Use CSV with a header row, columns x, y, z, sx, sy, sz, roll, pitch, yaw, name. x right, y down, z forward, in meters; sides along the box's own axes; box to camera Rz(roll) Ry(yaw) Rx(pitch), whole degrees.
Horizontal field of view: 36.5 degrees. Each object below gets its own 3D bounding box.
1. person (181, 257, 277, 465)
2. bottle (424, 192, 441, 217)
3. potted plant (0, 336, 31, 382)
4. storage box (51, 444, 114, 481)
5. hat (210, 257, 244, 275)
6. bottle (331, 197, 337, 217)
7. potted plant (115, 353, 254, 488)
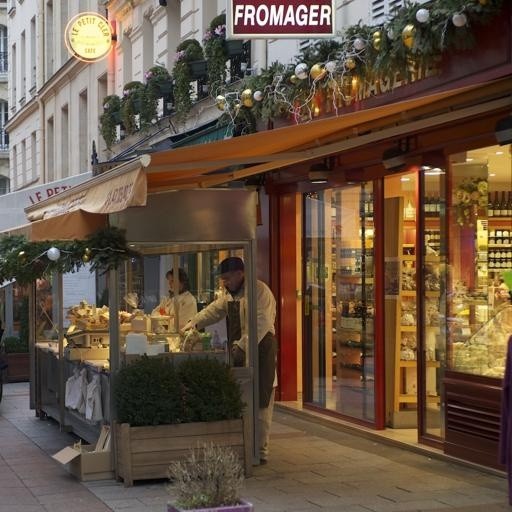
x,y,z,sx,sy,sz,roll,pitch,yaw,name
-0.177,0.876,7.101,0.670,1.717,0.663,-1,2,29,person
1.709,-0.494,7.516,0.104,0.214,0.198,1,-2,-24,bottle
-4.107,1.781,13.255,0.423,0.765,0.365,1,-2,-17,potted plant
-1.402,1.694,6.363,0.362,0.209,0.276,2,-6,-18,storage box
-0.239,0.088,6.888,0.191,0.112,0.133,2,-7,-22,hat
0.923,-0.599,9.304,0.067,0.196,0.223,0,-1,-1,bottle
-0.594,1.201,6.628,1.305,1.431,0.861,0,-5,-11,potted plant
